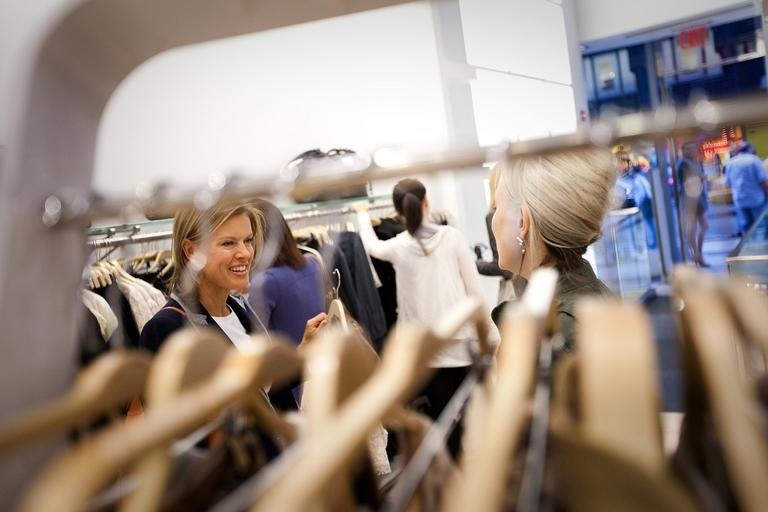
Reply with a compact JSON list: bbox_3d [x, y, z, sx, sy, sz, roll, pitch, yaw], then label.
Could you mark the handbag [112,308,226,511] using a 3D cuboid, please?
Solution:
[{"bbox_3d":[-0.156,0.116,0.338,0.013,0.059,0.126,4,33,18],"label":"handbag"}]
